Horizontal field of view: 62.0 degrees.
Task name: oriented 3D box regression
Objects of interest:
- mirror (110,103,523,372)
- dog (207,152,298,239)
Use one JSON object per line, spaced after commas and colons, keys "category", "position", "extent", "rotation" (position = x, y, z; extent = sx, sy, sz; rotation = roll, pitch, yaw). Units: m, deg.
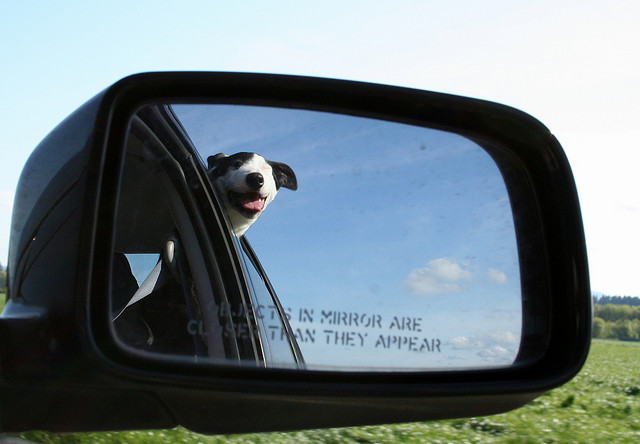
{"category": "mirror", "position": [0.046, 0.072, 1.801], "extent": [1.588, 0.955, 0.060], "rotation": [9, -20, -26]}
{"category": "dog", "position": [-0.266, -0.099, 1.894], "extent": [0.411, 0.260, 0.354], "rotation": [2, -10, 4]}
